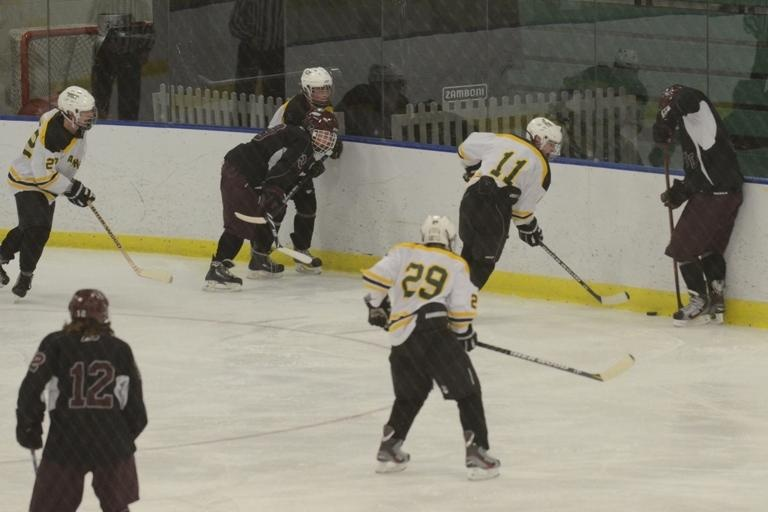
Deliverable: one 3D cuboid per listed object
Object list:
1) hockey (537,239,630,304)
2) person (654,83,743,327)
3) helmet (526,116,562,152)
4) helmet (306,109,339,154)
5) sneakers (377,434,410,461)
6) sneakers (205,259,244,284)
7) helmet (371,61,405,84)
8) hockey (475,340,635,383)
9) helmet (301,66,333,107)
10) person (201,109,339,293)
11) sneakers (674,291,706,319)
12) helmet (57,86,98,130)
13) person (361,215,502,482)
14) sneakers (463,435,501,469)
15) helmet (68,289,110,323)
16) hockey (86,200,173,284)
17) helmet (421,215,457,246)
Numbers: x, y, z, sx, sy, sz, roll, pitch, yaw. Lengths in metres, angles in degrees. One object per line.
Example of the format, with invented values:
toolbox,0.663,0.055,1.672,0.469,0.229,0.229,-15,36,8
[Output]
hockey,1.501,0.089,9.193,0.962,0.304,0.097,25,12,-26
person,2.343,-0.388,8.967,0.419,1.775,0.581,2,8,-33
helmet,1.189,-0.879,8.816,0.302,0.270,0.230,12,4,28
helmet,-0.518,-1.060,10.007,0.281,0.354,0.153,10,-1,-13
sneakers,0.081,1.098,6.652,0.238,0.174,0.093,1,8,-34
sneakers,-1.336,0.141,9.853,0.293,0.195,0.208,2,7,-28
helmet,0.035,-1.658,10.650,0.335,0.189,0.136,5,6,1
hockey,1.149,0.729,7.956,0.807,0.086,0.106,17,-25,-9
helmet,-0.566,-1.441,10.103,0.306,0.328,0.353,3,5,-33
person,-0.937,-0.494,9.983,0.944,1.556,0.536,5,6,-3
sneakers,2.314,0.381,8.900,0.154,0.226,0.250,11,8,41
helmet,-2.358,-1.170,9.142,0.317,0.297,0.257,26,29,24
person,0.281,0.510,6.738,0.879,1.447,0.571,6,6,-1
sneakers,0.547,1.097,6.581,0.228,0.203,0.086,8,-7,-20
helmet,-1.476,0.256,6.011,0.246,0.180,0.176,2,-8,6
hockey,-2.294,-0.130,10.712,0.139,0.170,1.169,-12,40,-33
helmet,0.331,-0.145,6.886,0.176,0.180,0.192,4,2,10
